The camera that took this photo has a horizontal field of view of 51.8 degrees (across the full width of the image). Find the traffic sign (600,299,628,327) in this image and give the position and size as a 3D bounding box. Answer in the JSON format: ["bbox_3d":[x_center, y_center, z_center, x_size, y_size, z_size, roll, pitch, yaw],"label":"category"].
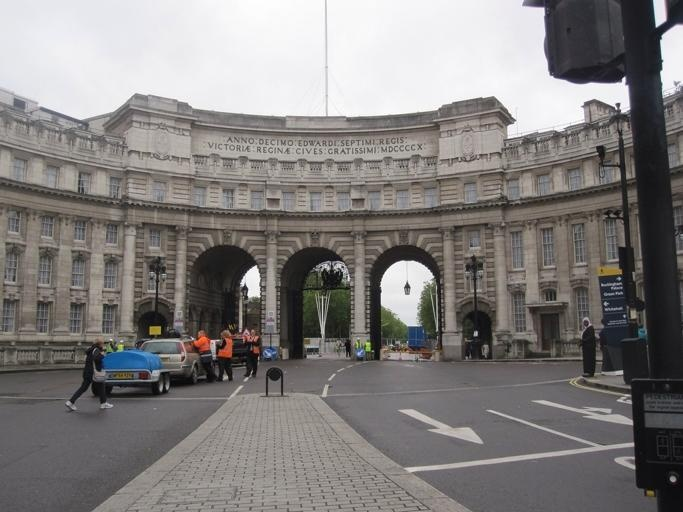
[{"bbox_3d":[10.021,2.076,25.737,0.960,1.384,0.169,-5,-13,14],"label":"traffic sign"}]

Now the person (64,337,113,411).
[{"bbox_3d":[-6.949,3.317,19.765,1.057,1.921,1.543,0,-9,-8],"label":"person"}]

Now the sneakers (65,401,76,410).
[{"bbox_3d":[-7.381,4.068,19.158,0.141,0.177,0.369,37,-12,33],"label":"sneakers"}]

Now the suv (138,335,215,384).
[{"bbox_3d":[-6.329,4.093,27.663,1.200,1.823,3.113,-4,-10,17],"label":"suv"}]

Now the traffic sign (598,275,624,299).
[{"bbox_3d":[9.947,1.129,25.911,0.812,1.084,0.114,-2,-5,20],"label":"traffic sign"}]

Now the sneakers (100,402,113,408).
[{"bbox_3d":[-6.458,4.103,19.449,0.389,0.200,0.172,1,0,-15],"label":"sneakers"}]
